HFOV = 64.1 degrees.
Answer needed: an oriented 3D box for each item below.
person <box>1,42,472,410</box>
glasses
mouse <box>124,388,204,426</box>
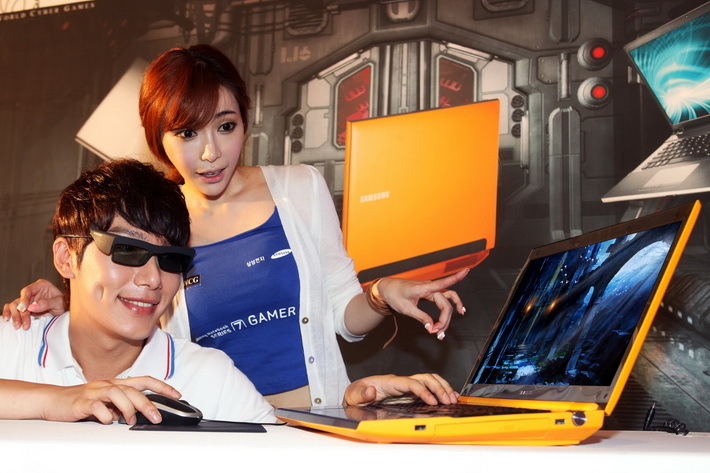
[{"bbox_3d":[-0.352,-0.056,2.419,1.493,1.849,0.623,-22,-4,-22],"label":"person"},{"bbox_3d":[-0.610,0.031,1.600,0.206,0.053,0.208,23,-25,-32],"label":"glasses"},{"bbox_3d":[-0.446,0.407,1.335,0.126,0.038,0.069,3,-3,-4],"label":"mouse"}]
